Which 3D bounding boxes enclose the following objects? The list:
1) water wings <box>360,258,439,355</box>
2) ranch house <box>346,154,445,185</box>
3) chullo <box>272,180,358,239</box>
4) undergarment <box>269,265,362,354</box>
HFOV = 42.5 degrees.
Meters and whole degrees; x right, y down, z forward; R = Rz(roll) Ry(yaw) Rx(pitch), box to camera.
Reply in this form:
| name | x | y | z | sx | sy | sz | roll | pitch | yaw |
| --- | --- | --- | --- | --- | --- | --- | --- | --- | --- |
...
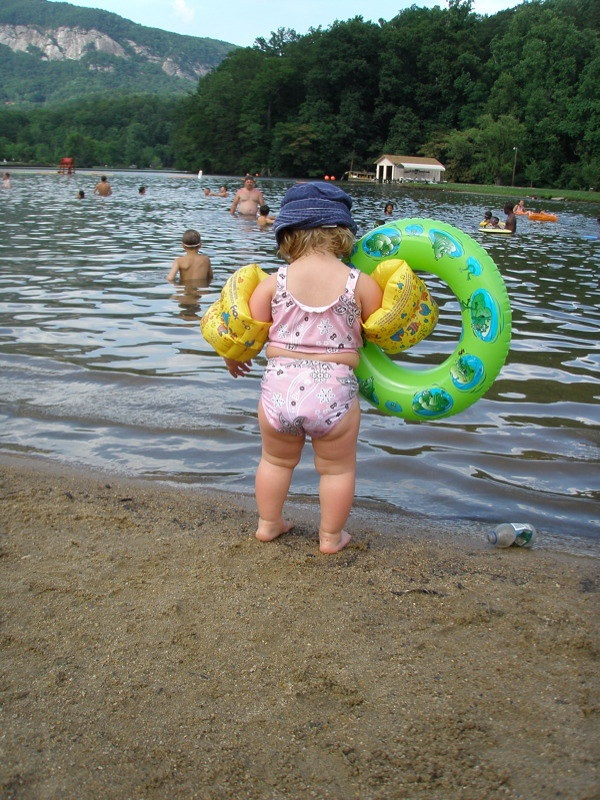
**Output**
| name | x | y | z | sx | sy | sz | roll | pitch | yaw |
| --- | --- | --- | --- | --- | --- | --- | --- | --- | --- |
| water wings | 0.332 | -0.336 | 2.907 | 0.275 | 0.249 | 0.281 | -41 | 51 | -11 |
| ranch house | 7.577 | -18.064 | 60.526 | 6.784 | 1.767 | 4.553 | -13 | 35 | -21 |
| chullo | 0.059 | -0.679 | 2.751 | 0.302 | 0.210 | 0.217 | 3 | 11 | -5 |
| undergarment | 0.061 | -0.315 | 2.700 | 0.330 | 0.294 | 0.160 | 3 | 12 | -3 |
